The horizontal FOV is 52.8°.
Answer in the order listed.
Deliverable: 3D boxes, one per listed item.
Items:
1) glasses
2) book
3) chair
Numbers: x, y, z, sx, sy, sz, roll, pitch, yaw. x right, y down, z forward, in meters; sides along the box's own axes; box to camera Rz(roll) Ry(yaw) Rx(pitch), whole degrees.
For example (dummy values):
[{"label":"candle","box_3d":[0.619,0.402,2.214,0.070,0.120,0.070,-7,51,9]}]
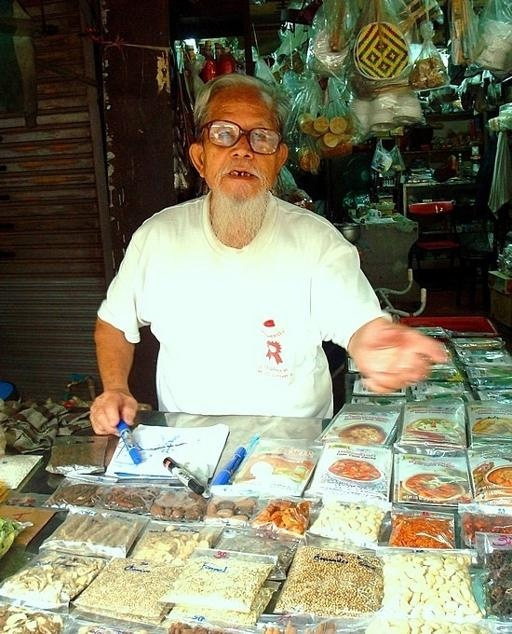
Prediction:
[{"label":"glasses","box_3d":[-0.048,-0.476,1.426,0.218,0.087,0.112,-9,10,-34]},{"label":"book","box_3d":[-0.186,0.300,1.148,0.287,0.067,0.224,-10,6,8]},{"label":"chair","box_3d":[2.414,-0.855,6.914,0.884,1.609,0.713,-7,12,7]}]
